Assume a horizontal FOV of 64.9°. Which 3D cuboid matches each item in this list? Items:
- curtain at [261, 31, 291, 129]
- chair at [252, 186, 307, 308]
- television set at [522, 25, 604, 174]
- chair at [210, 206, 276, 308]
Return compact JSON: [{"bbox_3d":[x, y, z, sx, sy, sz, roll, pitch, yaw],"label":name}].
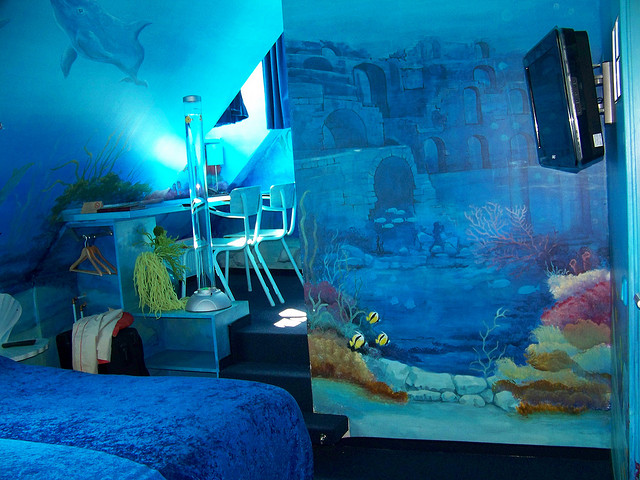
[{"bbox_3d":[-0.477,-1.746,5.525,0.287,1.151,0.129,-5,-14,2],"label":"curtain"},{"bbox_3d":[-0.430,0.002,4.836,0.392,0.641,0.403,-14,-2,21],"label":"chair"},{"bbox_3d":[1.115,-0.630,2.317,0.331,0.606,0.602,5,6,20],"label":"television set"},{"bbox_3d":[-0.754,0.054,4.750,0.558,0.810,0.568,-3,-7,-5],"label":"chair"}]
